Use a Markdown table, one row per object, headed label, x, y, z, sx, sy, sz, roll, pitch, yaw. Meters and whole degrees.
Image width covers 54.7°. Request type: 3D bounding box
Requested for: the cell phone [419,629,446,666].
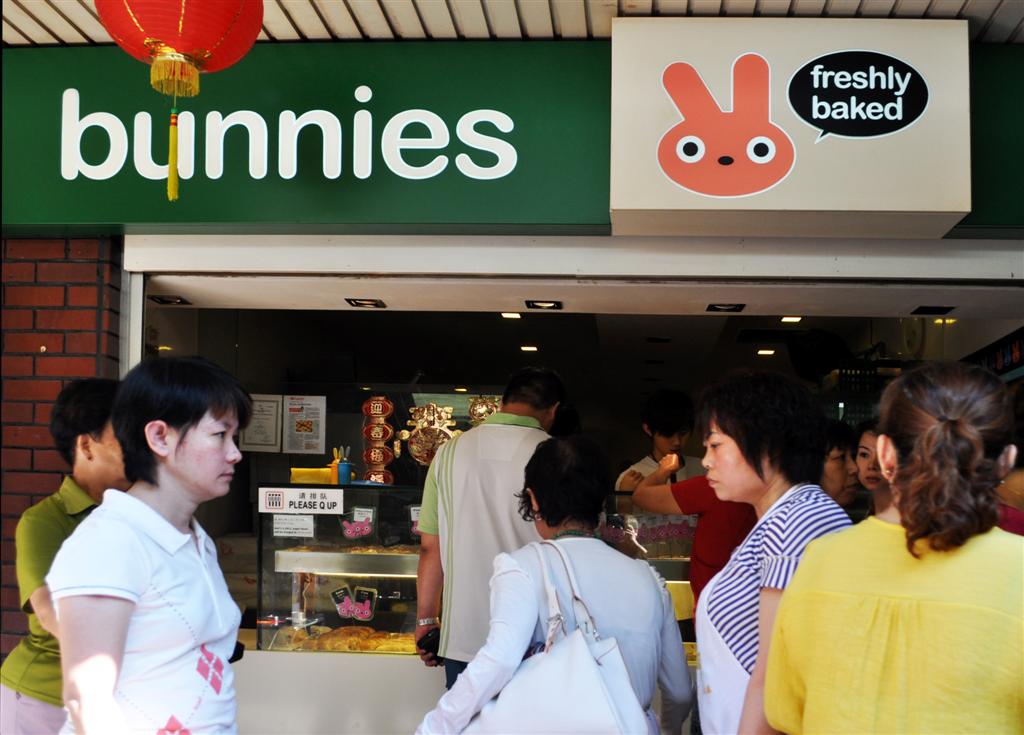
| label | x | y | z | sx | sy | sz | roll | pitch | yaw |
| --- | --- | --- | --- | --- | --- | --- | --- | --- | --- |
| cell phone | -0.344 | 1.172 | 4.181 | 0.130 | 0.132 | 0.044 | -40 | 24 | 10 |
